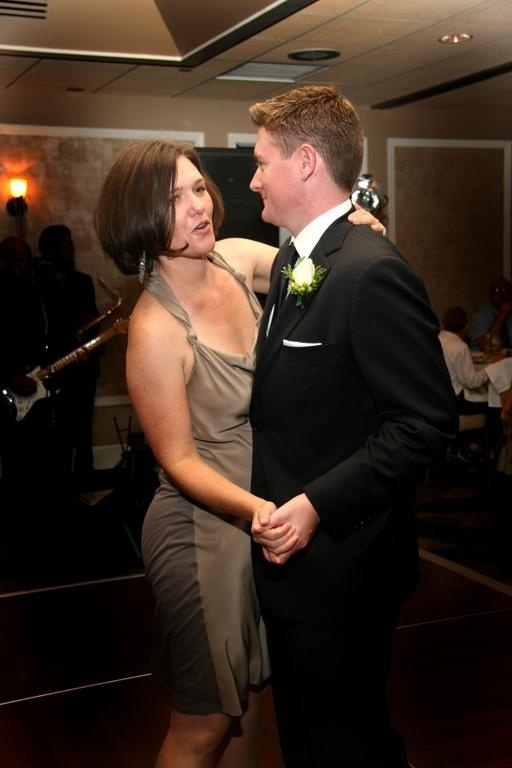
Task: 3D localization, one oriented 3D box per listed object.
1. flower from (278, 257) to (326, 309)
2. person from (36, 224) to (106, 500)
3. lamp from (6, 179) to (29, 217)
[{"bbox_3d":[0.101,-0.209,1.249,0.082,0.094,0.095,-2,13,3],"label":"flower"},{"bbox_3d":[-1.416,-0.183,4.813,0.416,2.069,0.650,-6,16,-28],"label":"person"},{"bbox_3d":[-1.991,-1.574,5.106,0.190,0.307,0.075,1,3,-11],"label":"lamp"}]
